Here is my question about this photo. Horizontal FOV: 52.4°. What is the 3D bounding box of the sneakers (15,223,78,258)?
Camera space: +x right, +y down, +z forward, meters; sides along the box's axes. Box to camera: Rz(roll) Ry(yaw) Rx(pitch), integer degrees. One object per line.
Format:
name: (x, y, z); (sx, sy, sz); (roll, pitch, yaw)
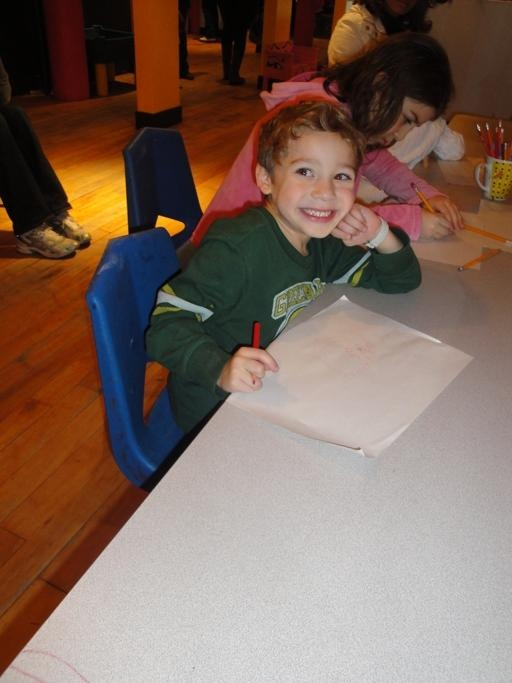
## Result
sneakers: (-0.936, -0.438, 2.368); (0.285, 0.130, 0.125); (3, 53, -2)

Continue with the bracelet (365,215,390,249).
bracelet: (0.240, -0.209, 1.010); (0.022, 0.044, 0.052); (22, 72, -19)
